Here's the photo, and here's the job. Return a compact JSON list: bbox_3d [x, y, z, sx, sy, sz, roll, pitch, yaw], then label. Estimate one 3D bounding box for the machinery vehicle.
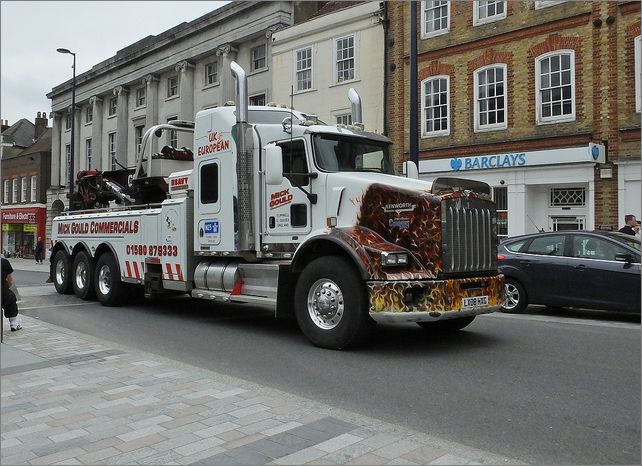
[{"bbox_3d":[-2.066,-0.392,13.121,11.519,4.995,3.770,-2,-1,40],"label":"machinery vehicle"}]
